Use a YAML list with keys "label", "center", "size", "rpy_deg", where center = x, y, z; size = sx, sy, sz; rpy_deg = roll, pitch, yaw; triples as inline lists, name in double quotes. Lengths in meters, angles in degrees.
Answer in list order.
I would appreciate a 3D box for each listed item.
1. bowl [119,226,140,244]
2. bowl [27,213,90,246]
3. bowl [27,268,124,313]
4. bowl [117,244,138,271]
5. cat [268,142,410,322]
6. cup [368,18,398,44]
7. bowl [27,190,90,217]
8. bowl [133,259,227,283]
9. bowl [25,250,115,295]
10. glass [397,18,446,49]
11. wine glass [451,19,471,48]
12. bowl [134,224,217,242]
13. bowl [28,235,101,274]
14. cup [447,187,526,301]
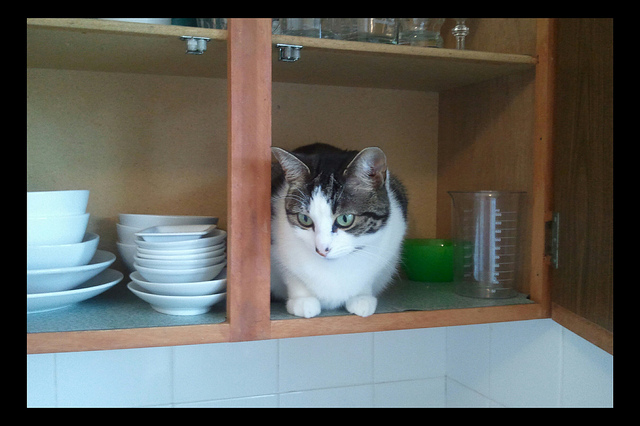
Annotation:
- label: "bowl"
  center: [-0.507, 0.058, 1.457]
  size: [0.051, 0.031, 0.053]
  rpy_deg: [1, -2, 0]
- label: "bowl"
  center: [-0.636, 0.034, 1.351]
  size: [0.144, 0.062, 0.110]
  rpy_deg: [-2, 8, -19]
- label: "bowl"
  center: [-0.602, 0.165, 1.369]
  size: [0.199, 0.084, 0.142]
  rpy_deg: [-2, 14, -29]
- label: "bowl"
  center: [-0.505, 0.118, 1.454]
  size: [0.067, 0.056, 0.069]
  rpy_deg: [3, 3, 0]
- label: "cat"
  center: [0.051, 0.000, 1.587]
  size: [0.438, 0.435, 0.598]
  rpy_deg: [3, 22, 8]
- label: "cup"
  center: [0.173, -0.513, 1.551]
  size: [0.083, 0.073, 0.096]
  rpy_deg: [0, 6, 5]
- label: "bowl"
  center: [-0.618, -0.026, 1.349]
  size: [0.087, 0.057, 0.190]
  rpy_deg: [1, 6, 10]
- label: "bowl"
  center: [-0.321, 0.136, 1.319]
  size: [0.154, 0.054, 0.171]
  rpy_deg: [6, 12, 14]
- label: "bowl"
  center: [-0.638, 0.152, 1.363]
  size: [0.239, 0.058, 0.236]
  rpy_deg: [-2, 4, 0]
- label: "glass"
  center: [0.279, -0.515, 1.567]
  size: [0.125, 0.094, 0.135]
  rpy_deg: [1, 6, 7]
- label: "wine glass"
  center: [0.418, -0.536, 1.652]
  size: [0.051, 0.096, 0.082]
  rpy_deg: [2, 7, 16]
- label: "bowl"
  center: [-0.355, 0.028, 1.361]
  size: [0.134, 0.047, 0.126]
  rpy_deg: [-3, 10, 1]
- label: "bowl"
  center: [-0.631, 0.104, 1.360]
  size: [0.180, 0.066, 0.183]
  rpy_deg: [-2, -13, 0]
- label: "cup"
  center: [0.427, 0.081, 1.441]
  size: [0.186, 0.272, 0.083]
  rpy_deg: [2, 7, 18]
